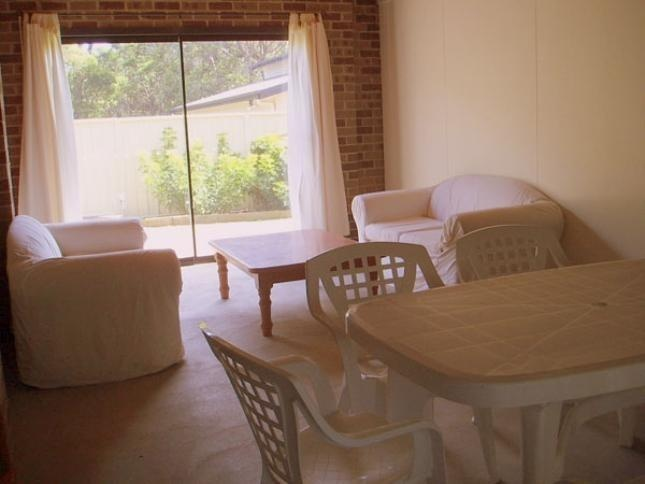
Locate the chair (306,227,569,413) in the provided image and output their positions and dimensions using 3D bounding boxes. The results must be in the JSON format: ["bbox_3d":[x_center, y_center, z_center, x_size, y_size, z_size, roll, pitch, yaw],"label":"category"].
[{"bbox_3d":[0.417,0.289,1.882,0.791,0.415,0.295,-9,14,-17],"label":"chair"}]

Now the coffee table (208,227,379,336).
[{"bbox_3d":[-0.214,0.114,3.774,0.796,0.511,1.016,-8,17,-26],"label":"coffee table"}]

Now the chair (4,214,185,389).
[{"bbox_3d":[-1.330,0.429,3.272,0.993,0.894,1.378,-5,15,-23],"label":"chair"}]
